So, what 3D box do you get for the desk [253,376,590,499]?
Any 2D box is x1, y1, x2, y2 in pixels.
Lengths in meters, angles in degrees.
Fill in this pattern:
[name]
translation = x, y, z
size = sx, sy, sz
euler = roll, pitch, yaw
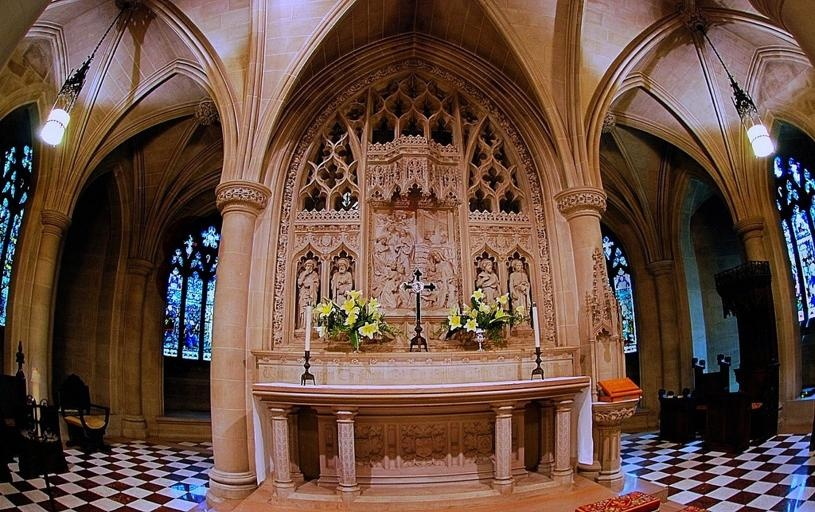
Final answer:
[desk]
translation = 0.323, 4.017, 14.643
size = 6.530, 2.578, 2.148
euler = -2, -16, -5
